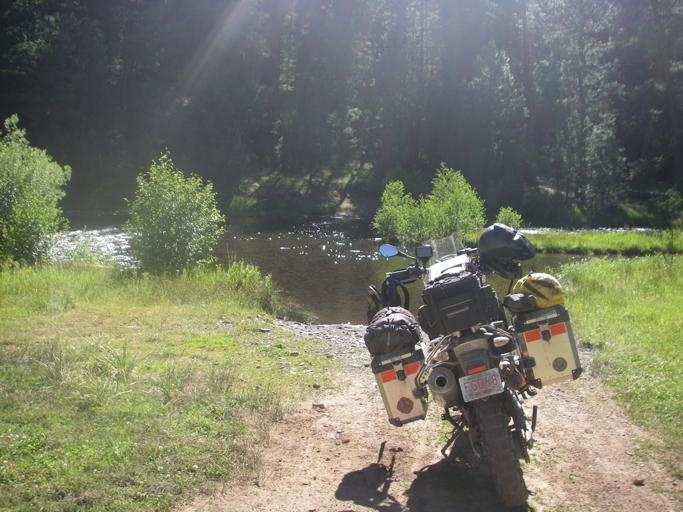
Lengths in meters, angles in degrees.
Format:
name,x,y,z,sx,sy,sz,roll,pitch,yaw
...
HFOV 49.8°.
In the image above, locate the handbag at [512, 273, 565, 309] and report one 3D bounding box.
name,x,y,z,sx,sy,sz,roll,pitch,yaw
handbag,3.974,0.640,14.637,0.811,0.741,0.632,16,14,18
